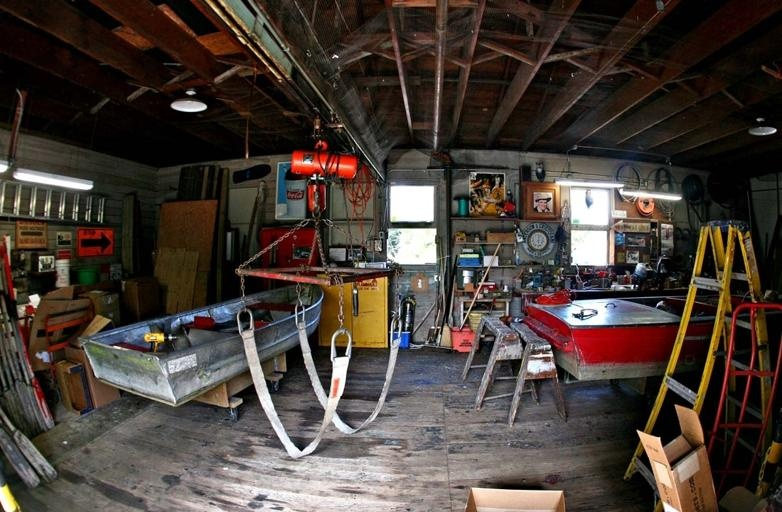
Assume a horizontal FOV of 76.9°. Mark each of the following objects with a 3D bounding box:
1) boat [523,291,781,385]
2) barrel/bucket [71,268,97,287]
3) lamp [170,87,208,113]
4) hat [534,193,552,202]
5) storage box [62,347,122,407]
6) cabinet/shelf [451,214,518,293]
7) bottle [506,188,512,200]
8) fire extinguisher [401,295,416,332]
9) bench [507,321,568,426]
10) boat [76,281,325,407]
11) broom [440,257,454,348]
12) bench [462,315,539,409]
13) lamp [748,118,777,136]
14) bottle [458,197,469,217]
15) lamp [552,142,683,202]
[{"bbox_3d":[3.593,1.123,7.172,2.739,0.860,1.299,1,-4,-9],"label":"boat"},{"bbox_3d":[-5.441,0.369,8.844,0.363,0.300,0.359,3,1,0],"label":"barrel/bucket"},{"bbox_3d":[-2.952,-2.220,7.193,0.443,0.222,0.412,-1,0,-13],"label":"lamp"},{"bbox_3d":[2.870,-1.105,9.288,0.228,0.071,0.182,3,-2,-21],"label":"hat"},{"bbox_3d":[-4.065,1.639,6.684,1.026,0.865,0.355,1,13,28],"label":"storage box"},{"bbox_3d":[1.745,-0.009,9.149,1.638,1.617,0.502,0,-4,-6],"label":"cabinet/shelf"},{"bbox_3d":[2.249,-1.162,9.333,0.103,0.192,0.207,1,4,28],"label":"bottle"},{"bbox_3d":[0.320,1.059,9.038,0.231,0.623,0.401,-1,4,9],"label":"fire extinguisher"},{"bbox_3d":[2.091,1.668,6.979,0.610,0.852,1.481,0,-1,9],"label":"bench"},{"bbox_3d":[-2.340,1.131,7.177,1.530,0.577,2.758,4,11,31],"label":"boat"},{"bbox_3d":[1.022,0.797,9.041,0.325,1.590,0.626,-1,4,7],"label":"broom"},{"bbox_3d":[1.728,1.652,7.673,1.114,1.092,1.243,3,2,2],"label":"bench"},{"bbox_3d":[5.868,-2.045,7.776,0.249,0.243,0.254,5,-10,12],"label":"lamp"},{"bbox_3d":[1.375,-0.906,9.179,0.213,0.341,0.135,-1,4,-2],"label":"bottle"},{"bbox_3d":[4.316,-1.564,9.239,2.758,1.040,1.045,-2,4,-14],"label":"lamp"}]
